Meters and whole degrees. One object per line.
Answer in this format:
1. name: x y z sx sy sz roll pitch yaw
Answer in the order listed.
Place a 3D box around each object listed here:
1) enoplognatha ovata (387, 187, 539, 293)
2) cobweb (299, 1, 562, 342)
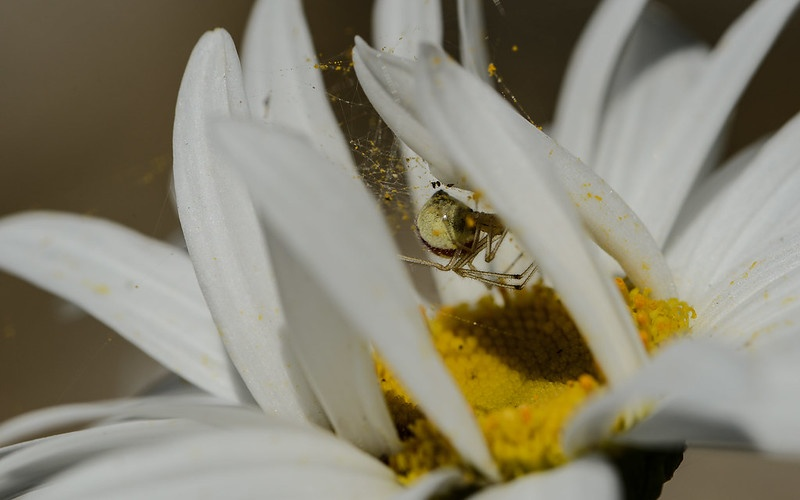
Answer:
1. enoplognatha ovata: 0.097 -0.011 1.137 0.174 0.117 0.062 29 23 -19
2. cobweb: 0.026 -0.074 1.235 0.406 0.403 0.102 -51 21 -27
